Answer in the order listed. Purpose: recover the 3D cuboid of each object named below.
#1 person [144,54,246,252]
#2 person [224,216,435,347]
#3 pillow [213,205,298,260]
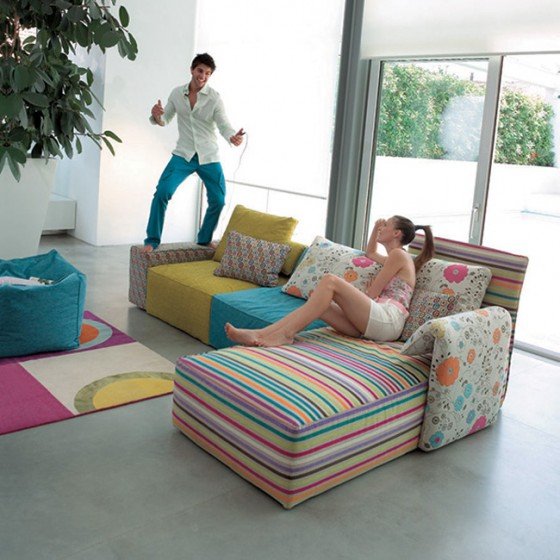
[{"bbox_3d":[-0.888,-1.360,4.578,0.915,2.007,0.729,3,7,-14],"label":"person"},{"bbox_3d":[0.302,0.004,2.525,1.164,0.778,0.387,2,0,-7],"label":"person"},{"bbox_3d":[-0.236,-0.518,4.110,0.503,0.198,0.707,16,-11,-18],"label":"pillow"}]
